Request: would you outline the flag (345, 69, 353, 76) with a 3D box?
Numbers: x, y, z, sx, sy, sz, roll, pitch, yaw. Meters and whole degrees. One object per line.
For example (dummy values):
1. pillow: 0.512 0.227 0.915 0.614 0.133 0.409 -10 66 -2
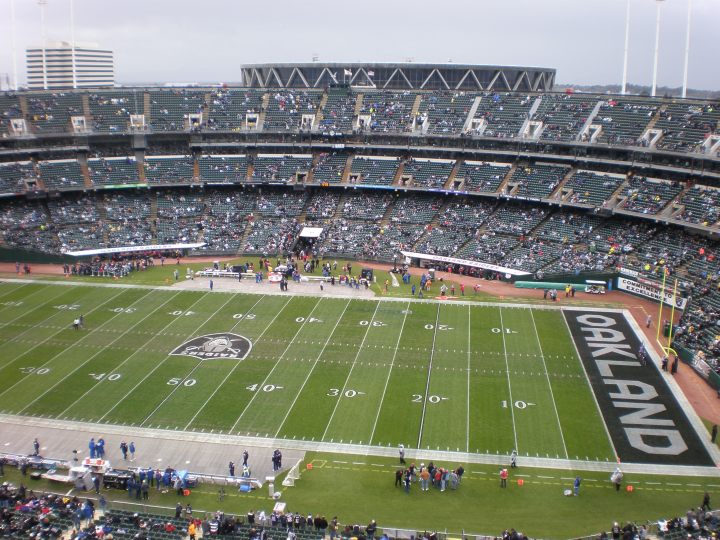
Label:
1. flag: -1.654 -29.892 87.285 1.322 1.226 0.118 6 7 24
